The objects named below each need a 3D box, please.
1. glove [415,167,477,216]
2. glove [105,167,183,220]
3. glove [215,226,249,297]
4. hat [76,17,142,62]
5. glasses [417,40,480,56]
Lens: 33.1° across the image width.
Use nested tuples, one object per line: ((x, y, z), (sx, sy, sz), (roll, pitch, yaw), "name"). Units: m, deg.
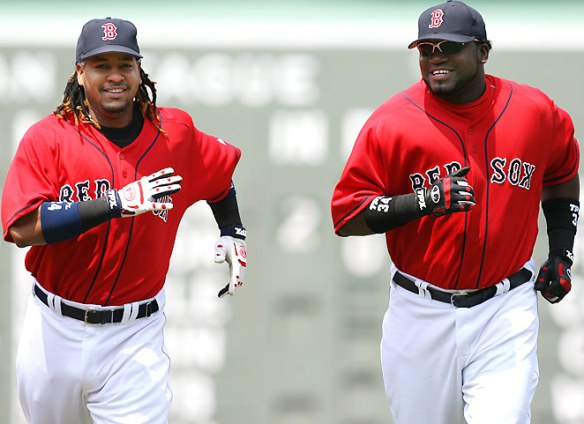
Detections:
((0.783, -0.096, 5.066), (0.267, 0.228, 0.121), (-9, -27, 30), "glove")
((-0.747, -0.093, 5.013), (0.334, 0.226, 0.116), (-23, -17, -16), "glove")
((-0.350, 0.279, 5.702), (0.131, 0.383, 0.218), (-14, -29, 30), "glove")
((-0.994, -0.939, 5.303), (0.349, 0.266, 0.477), (-3, 5, -19), "hat")
((0.835, -0.879, 5.249), (0.320, 0.091, 0.094), (0, 0, 1), "glasses")
